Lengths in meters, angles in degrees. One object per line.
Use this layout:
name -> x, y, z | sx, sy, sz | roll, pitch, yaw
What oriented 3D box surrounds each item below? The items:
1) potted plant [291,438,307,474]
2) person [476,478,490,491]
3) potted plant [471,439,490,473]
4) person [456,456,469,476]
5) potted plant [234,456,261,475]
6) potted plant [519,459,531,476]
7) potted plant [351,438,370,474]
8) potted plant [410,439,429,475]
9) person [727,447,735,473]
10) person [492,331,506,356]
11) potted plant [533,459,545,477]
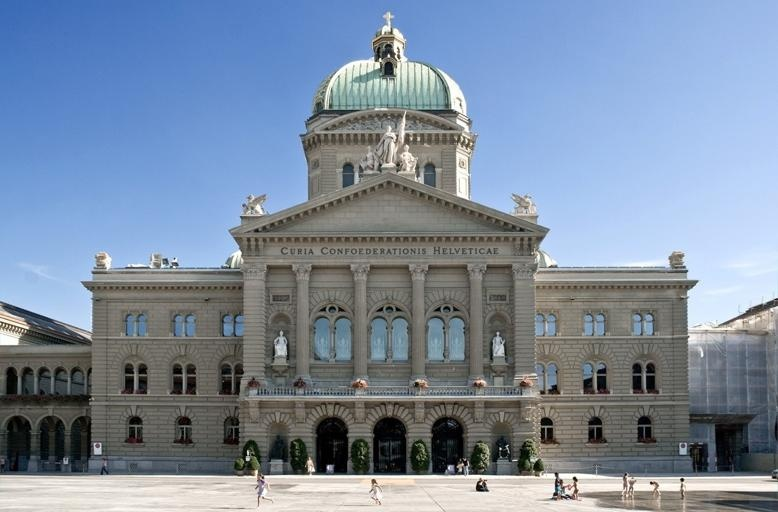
potted plant -> -8.941, 19.532, 139.217 | 1.661, 3.466, 0.983 | 0, -17, -4
person -> 8.643, 20.415, 126.584 | 1.332, 1.414, 0.950 | 0, -2, -4
potted plant -> 9.260, 19.624, 139.360 | 1.615, 2.981, 1.491 | 12, -22, -38
person -> 7.418, 20.651, 139.239 | 1.165, 1.765, 1.204 | -2, -17, 2
potted plant -> -14.130, 20.679, 139.741 | 2.466, 1.565, 1.942 | 0, -20, 7
potted plant -> 13.646, 20.607, 139.150 | 1.329, 1.498, 0.675 | -2, -17, 1
potted plant -> -2.778, 19.596, 139.250 | 1.846, 3.338, 1.583 | 2, -17, -10
potted plant -> 3.160, 19.622, 139.345 | 1.790, 3.284, 1.504 | 2, -17, -10
person -> 37.575, 21.937, 153.407 | 0.590, 2.253, 0.994 | -16, -22, 39
person -> 11.329, 8.777, 142.984 | 1.350, 2.744, 0.983 | 4, -18, -17
potted plant -> 14.994, 20.696, 139.358 | 1.215, 1.753, 0.626 | 14, -23, -41
